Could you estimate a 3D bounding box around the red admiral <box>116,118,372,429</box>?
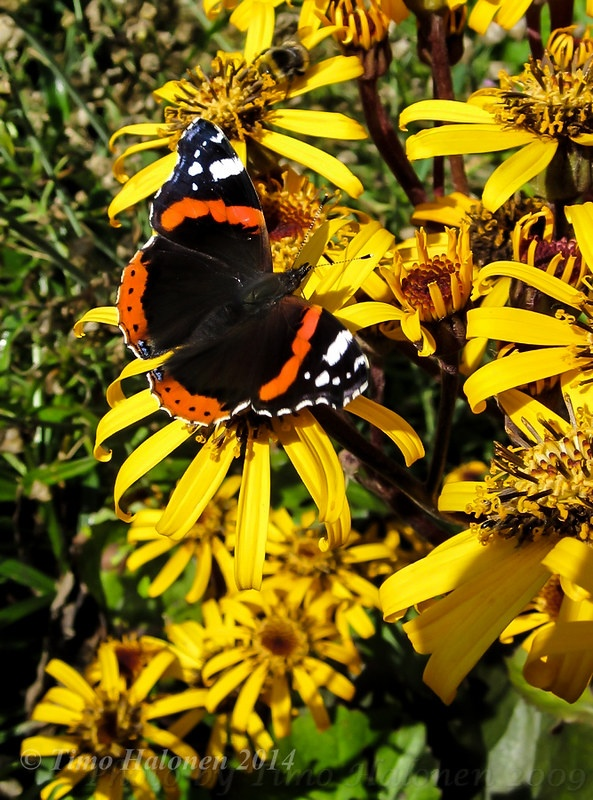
[{"bbox_3d":[-0.102,-0.139,1.357,0.350,0.621,0.169,-46,38,-15],"label":"red admiral"}]
